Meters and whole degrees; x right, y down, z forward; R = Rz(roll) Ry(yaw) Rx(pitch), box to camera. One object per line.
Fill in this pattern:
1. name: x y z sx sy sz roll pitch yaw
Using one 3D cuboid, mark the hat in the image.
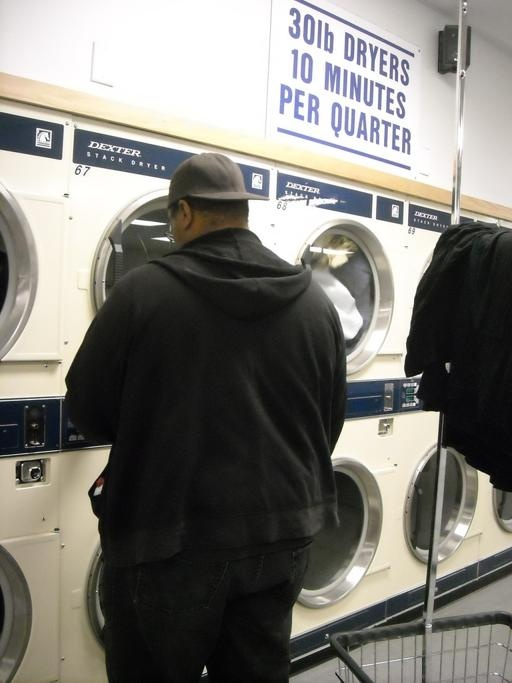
1. hat: -0.090 -0.332 1.274 0.152 0.097 0.116 5 11 37
